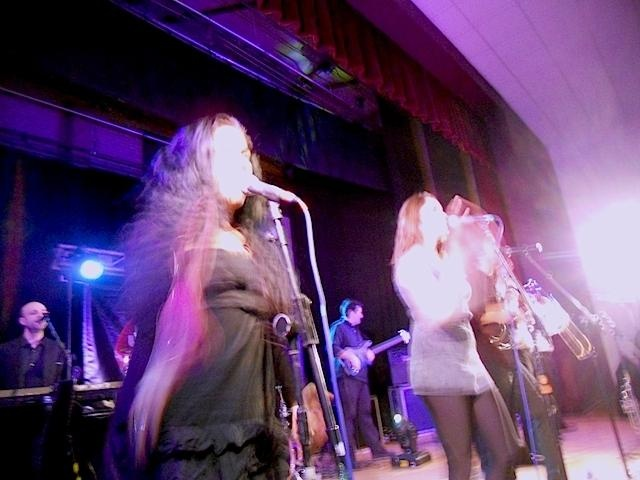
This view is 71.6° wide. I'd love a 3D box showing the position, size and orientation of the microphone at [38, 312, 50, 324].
[{"bbox_3d":[-3.121,0.876,5.023,0.077,0.126,0.042,0,17,0],"label":"microphone"}]
